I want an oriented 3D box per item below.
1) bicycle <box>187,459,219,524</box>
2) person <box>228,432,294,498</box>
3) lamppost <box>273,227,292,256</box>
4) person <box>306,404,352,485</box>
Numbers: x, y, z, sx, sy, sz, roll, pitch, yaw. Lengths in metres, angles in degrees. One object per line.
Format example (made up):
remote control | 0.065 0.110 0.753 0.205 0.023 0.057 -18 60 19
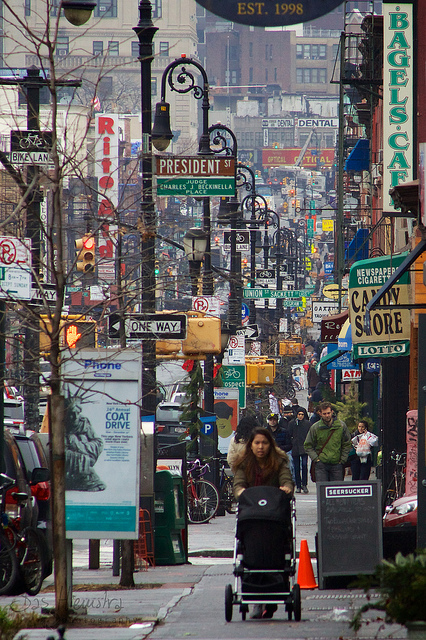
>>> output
bicycle | -0.117 2.447 26.363 0.435 0.686 1.065 -1 0 -1
person | 0.436 1.190 15.710 0.467 0.862 0.476 -2 -15 4
lamppost | 2.509 -3.062 68.397 0.887 1.474 0.919 -1 2 3
person | 1.438 1.706 22.564 0.501 1.585 0.331 -3 19 -1
